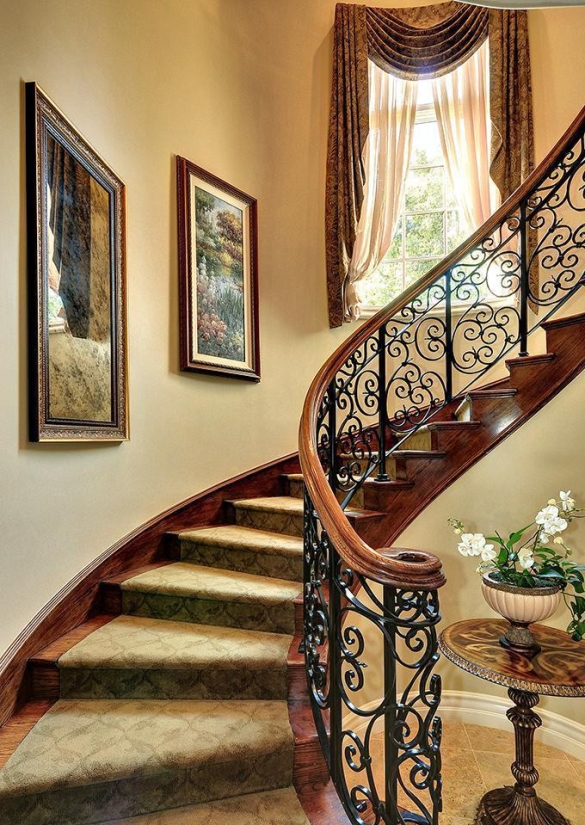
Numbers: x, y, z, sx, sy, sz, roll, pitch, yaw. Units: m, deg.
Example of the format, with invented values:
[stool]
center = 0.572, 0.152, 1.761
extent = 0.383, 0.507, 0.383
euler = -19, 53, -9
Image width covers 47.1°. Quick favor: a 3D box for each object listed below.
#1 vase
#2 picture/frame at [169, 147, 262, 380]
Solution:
[vase]
center = 0.911, 0.767, 2.642
extent = 0.321, 0.288, 0.300
euler = -3, 5, -38
[picture/frame]
center = -0.444, -0.827, 3.935
extent = 0.088, 1.246, 0.757
euler = -1, 0, 28
